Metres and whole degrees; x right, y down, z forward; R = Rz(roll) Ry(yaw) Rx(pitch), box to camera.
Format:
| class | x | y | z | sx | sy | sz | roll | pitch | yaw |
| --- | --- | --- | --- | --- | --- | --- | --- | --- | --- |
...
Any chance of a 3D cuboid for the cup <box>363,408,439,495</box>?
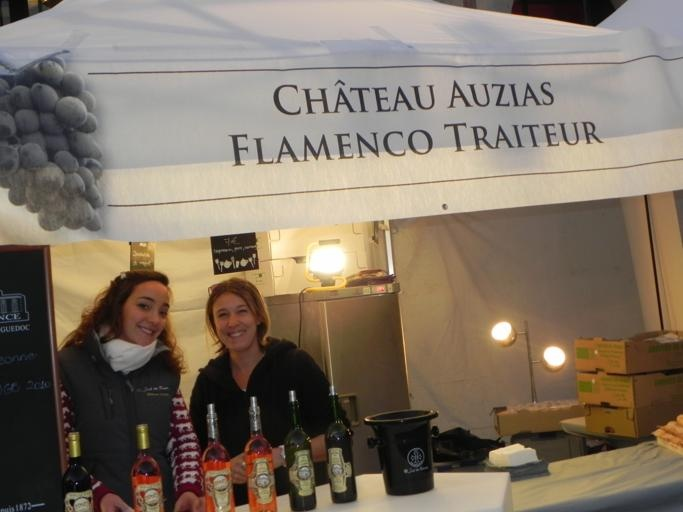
| class | x | y | z | sx | sy | sz | roll | pitch | yaw |
| --- | --- | --- | --- | --- | --- | --- | --- | --- | --- |
| cup | 0.226 | 0.684 | 2.303 | 0.256 | 0.265 | 0.223 | -5 | -7 | -15 |

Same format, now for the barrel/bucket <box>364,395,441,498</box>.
| class | x | y | z | sx | sy | sz | roll | pitch | yaw |
| --- | --- | --- | --- | --- | --- | --- | --- | --- | --- |
| barrel/bucket | 0.227 | 0.690 | 2.304 | 0.262 | 0.264 | 0.235 | -1 | -8 | -29 |

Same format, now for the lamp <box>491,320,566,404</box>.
| class | x | y | z | sx | sy | sz | roll | pitch | yaw |
| --- | --- | --- | --- | --- | --- | --- | --- | --- | --- |
| lamp | 1.530 | 0.939 | 5.520 | 0.365 | 0.285 | 1.067 | -6 | -51 | 15 |

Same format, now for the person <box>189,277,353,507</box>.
| class | x | y | z | sx | sy | sz | roll | pitch | yaw |
| --- | --- | --- | --- | --- | --- | --- | --- | --- | --- |
| person | -0.310 | 0.646 | 3.190 | 0.697 | 1.273 | 0.423 | -14 | -16 | -12 |

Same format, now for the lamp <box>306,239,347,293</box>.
| class | x | y | z | sx | sy | sz | roll | pitch | yaw |
| --- | --- | --- | --- | --- | --- | --- | --- | --- | --- |
| lamp | -0.112 | 0.084 | 4.788 | 0.314 | 0.513 | 0.306 | 1 | -5 | -2 |

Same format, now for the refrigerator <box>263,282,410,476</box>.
| class | x | y | z | sx | sy | sz | roll | pitch | yaw |
| --- | --- | --- | --- | --- | --- | --- | --- | --- | --- |
| refrigerator | 0.191 | 0.749 | 4.766 | 0.799 | 1.203 | 0.829 | -14 | 9 | -35 |
